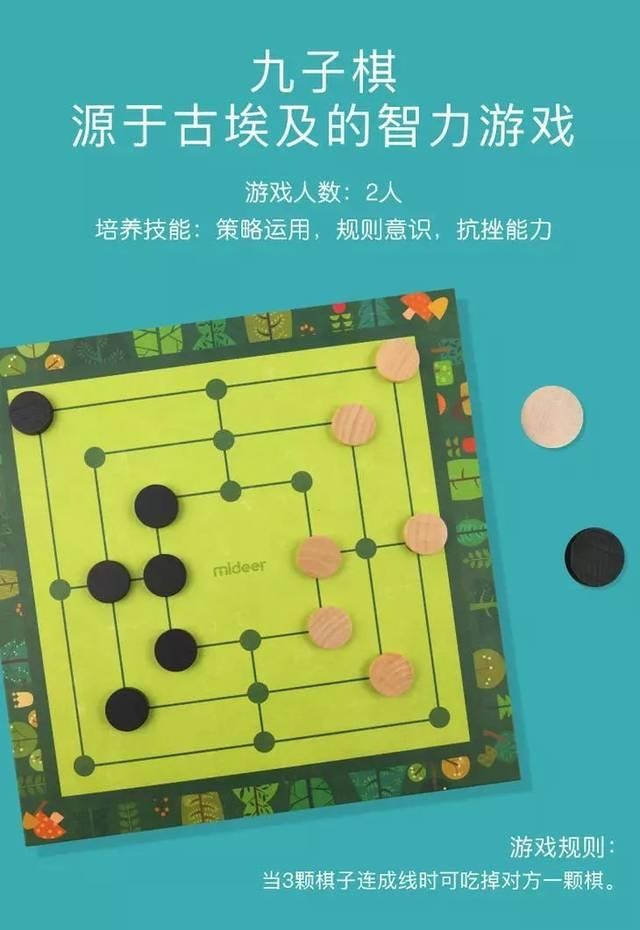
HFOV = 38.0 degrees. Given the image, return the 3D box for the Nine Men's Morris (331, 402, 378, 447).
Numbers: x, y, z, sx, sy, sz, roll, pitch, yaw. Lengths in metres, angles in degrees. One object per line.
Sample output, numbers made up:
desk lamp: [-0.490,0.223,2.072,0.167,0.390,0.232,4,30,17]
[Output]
Nine Men's Morris: [0.048,-0.060,1.381,0.070,0.014,0.064,3,92,0]

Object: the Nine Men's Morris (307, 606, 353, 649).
Nine Men's Morris: [0.012,0.241,1.373,0.070,0.013,0.062,-6,88,-4]

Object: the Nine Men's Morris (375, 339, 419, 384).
Nine Men's Morris: [0.117,-0.156,1.383,0.067,0.015,0.060,4,84,0]

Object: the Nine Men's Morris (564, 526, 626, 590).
Nine Men's Morris: [0.421,0.142,1.431,0.087,0.051,0.076,15,55,1]

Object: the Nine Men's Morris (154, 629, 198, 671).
Nine Men's Morris: [-0.213,0.272,1.368,0.064,0.015,0.058,7,92,-1]
